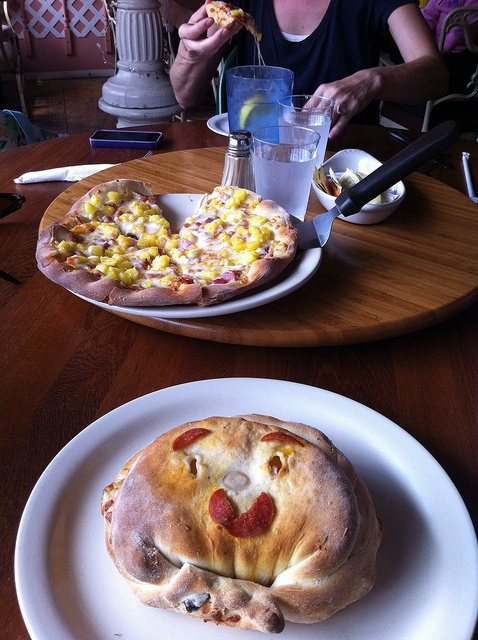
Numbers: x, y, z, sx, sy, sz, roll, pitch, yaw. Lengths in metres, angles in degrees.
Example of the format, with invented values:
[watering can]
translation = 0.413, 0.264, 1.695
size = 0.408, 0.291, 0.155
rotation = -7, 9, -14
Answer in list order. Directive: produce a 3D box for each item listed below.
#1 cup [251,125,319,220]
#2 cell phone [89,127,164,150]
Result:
[cup]
translation = 0.073, -0.240, 0.874
size = 0.120, 0.165, 0.119
rotation = 1, 43, -1
[cell phone]
translation = -0.261, -0.413, 1.207
size = 0.139, 0.018, 0.071
rotation = 5, 37, 4
